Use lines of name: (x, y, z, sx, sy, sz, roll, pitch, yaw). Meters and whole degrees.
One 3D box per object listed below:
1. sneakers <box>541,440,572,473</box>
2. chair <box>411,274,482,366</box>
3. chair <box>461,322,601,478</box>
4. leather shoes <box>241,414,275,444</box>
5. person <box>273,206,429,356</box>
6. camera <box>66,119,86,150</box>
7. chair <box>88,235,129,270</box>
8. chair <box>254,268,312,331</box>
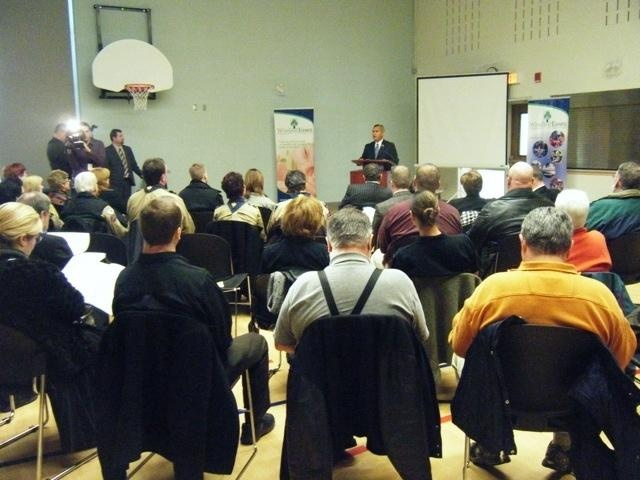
sneakers: (1.351, 1.223, 3.353, 0.114, 0.117, 0.254, 2, -3, 37)
chair: (0.721, 0.430, 3.368, 0.462, 0.575, 0.305, 0, 10, 6)
chair: (1.011, 0.709, 3.024, 0.539, 0.750, 0.642, 2, 9, 16)
leather shoes: (-0.371, 1.165, 3.743, 0.087, 0.170, 0.255, 5, 15, 23)
person: (0.178, 0.272, 3.233, 0.829, 0.875, 0.471, -3, 2, 2)
camera: (-3.079, -1.324, 7.398, 0.206, 0.290, 0.660, -6, 12, -22)
chair: (-1.724, 0.055, 4.827, 0.230, 0.323, 0.423, 5, 0, 13)
chair: (-0.325, 0.381, 3.912, 0.143, 0.458, 0.328, 8, 3, 21)
